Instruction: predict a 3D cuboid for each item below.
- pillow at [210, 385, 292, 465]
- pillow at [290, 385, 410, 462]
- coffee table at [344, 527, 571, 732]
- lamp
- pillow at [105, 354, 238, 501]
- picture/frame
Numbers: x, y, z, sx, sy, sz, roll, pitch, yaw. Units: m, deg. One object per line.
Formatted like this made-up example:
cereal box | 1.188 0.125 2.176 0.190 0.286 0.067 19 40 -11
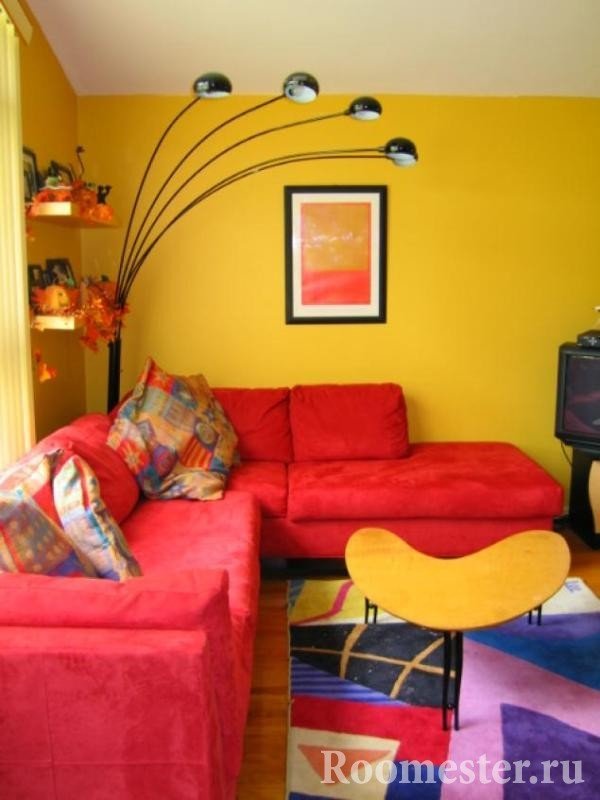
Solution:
pillow | -0.206 0.128 3.490 0.379 0.364 0.170 -8 -5 -16
pillow | 0.226 0.123 3.529 0.533 0.375 0.138 0 -12 -1
coffee table | 0.489 0.577 2.139 0.661 0.319 0.507 2 25 10
lamp | -0.220 -0.884 3.543 1.491 2.052 0.603 7 28 -4
pillow | -0.550 0.100 2.998 0.487 0.559 0.154 19 -32 -17
picture/frame | 0.171 -0.804 3.655 0.724 0.870 0.065 -1 6 -4
